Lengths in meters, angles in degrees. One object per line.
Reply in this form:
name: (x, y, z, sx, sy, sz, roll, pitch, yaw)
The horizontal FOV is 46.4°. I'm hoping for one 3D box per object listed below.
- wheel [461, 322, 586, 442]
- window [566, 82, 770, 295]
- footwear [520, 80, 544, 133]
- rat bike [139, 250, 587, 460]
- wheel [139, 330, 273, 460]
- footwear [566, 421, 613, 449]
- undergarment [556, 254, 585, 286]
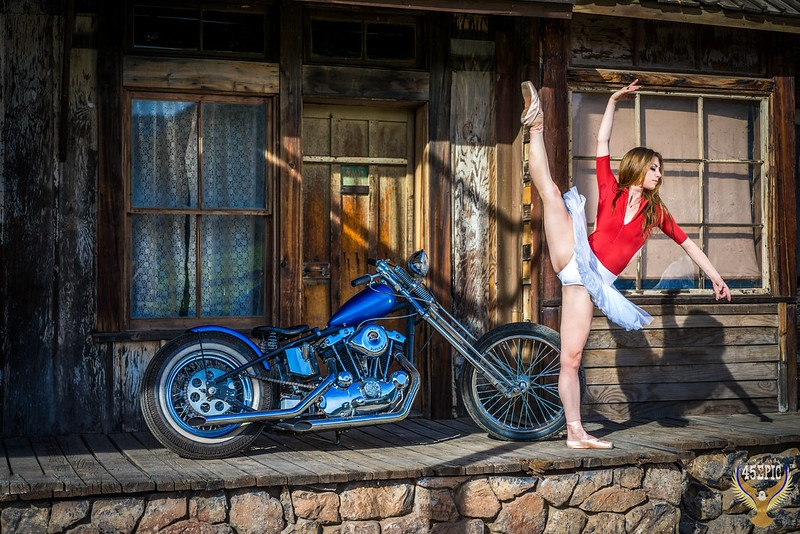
wheel: (1.045, 0.966, 7.809, 0.777, 0.987, 0.155, -1, 2, -7)
window: (2.299, -0.708, 8.286, 1.581, 1.732, 0.129, 0, -2, -13)
footwear: (1.034, -1.284, 7.401, 0.166, 0.503, 0.141, 6, -18, -23)
rat bike: (-0.412, 0.474, 8.327, 3.863, 2.302, 1.577, -3, -1, -10)
wheel: (-1.522, 1.016, 7.342, 0.753, 0.930, 0.820, -5, 7, 1)
footwear: (1.449, 1.325, 7.423, 0.433, 0.316, 0.163, -3, -2, 7)
undergarment: (1.354, 0.049, 7.477, 0.161, 0.350, 0.280, -5, -8, 18)
